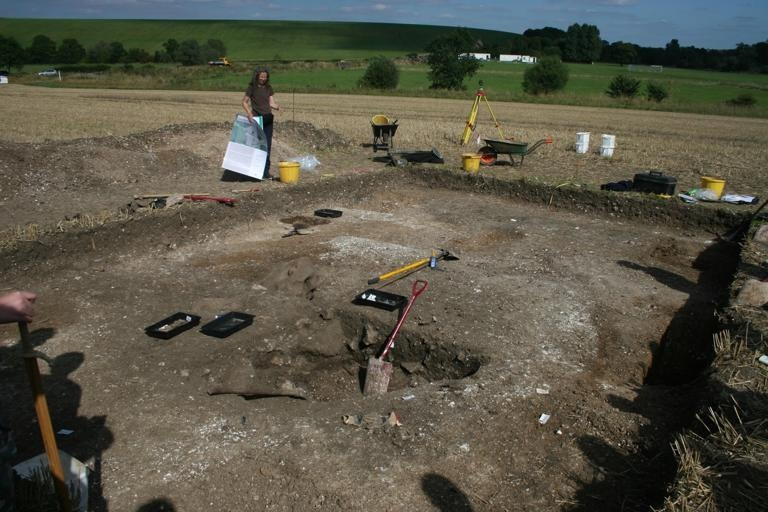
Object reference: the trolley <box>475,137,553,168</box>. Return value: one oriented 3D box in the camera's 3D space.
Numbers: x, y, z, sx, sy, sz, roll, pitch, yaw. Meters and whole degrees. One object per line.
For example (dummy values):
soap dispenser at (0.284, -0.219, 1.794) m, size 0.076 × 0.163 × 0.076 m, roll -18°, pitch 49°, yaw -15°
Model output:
trolley at (3.575, -2.798, 14.809) m, size 2.732 × 0.973 × 1.156 m, roll 1°, pitch 19°, yaw 2°

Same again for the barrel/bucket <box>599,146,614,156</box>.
barrel/bucket at (6.916, -3.189, 16.238) m, size 0.494 × 0.253 × 0.393 m, roll -1°, pitch 5°, yaw 0°

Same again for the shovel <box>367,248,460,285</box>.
shovel at (0.516, 0.193, 8.819) m, size 1.775 × 0.196 × 0.584 m, roll -11°, pitch 1°, yaw -36°

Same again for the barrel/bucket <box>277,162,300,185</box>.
barrel/bucket at (-2.146, -1.934, 12.305) m, size 0.687 × 0.432 × 0.574 m, roll 0°, pitch 7°, yaw 0°

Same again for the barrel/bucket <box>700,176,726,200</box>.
barrel/bucket at (7.436, -1.524, 11.838) m, size 0.534 × 0.348 × 0.571 m, roll 2°, pitch 27°, yaw -1°

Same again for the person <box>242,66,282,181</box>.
person at (-2.808, -2.989, 11.994) m, size 0.628 × 2.504 × 0.981 m, roll 21°, pitch 36°, yaw 24°
